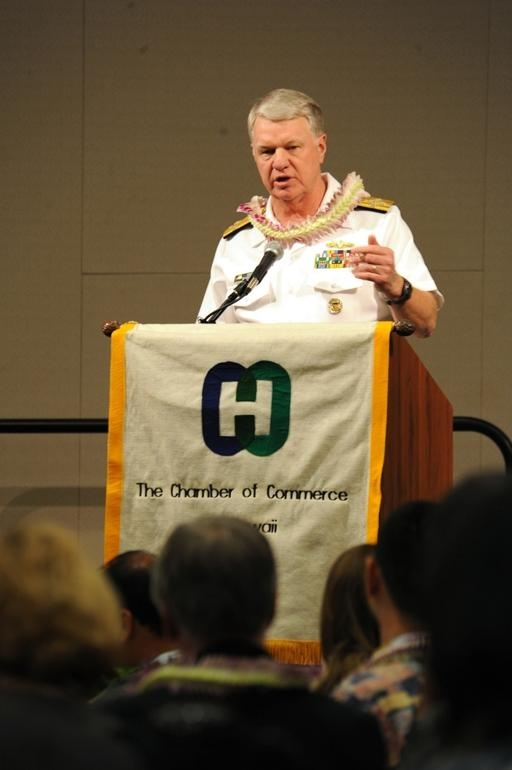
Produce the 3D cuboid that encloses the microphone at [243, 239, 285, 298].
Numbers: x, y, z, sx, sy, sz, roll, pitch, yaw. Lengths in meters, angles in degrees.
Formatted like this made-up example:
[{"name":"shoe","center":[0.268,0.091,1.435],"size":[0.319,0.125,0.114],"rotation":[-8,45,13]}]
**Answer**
[{"name":"microphone","center":[0.022,-0.225,1.856],"size":[0.152,0.043,0.041],"rotation":[-43,117,-35]}]
